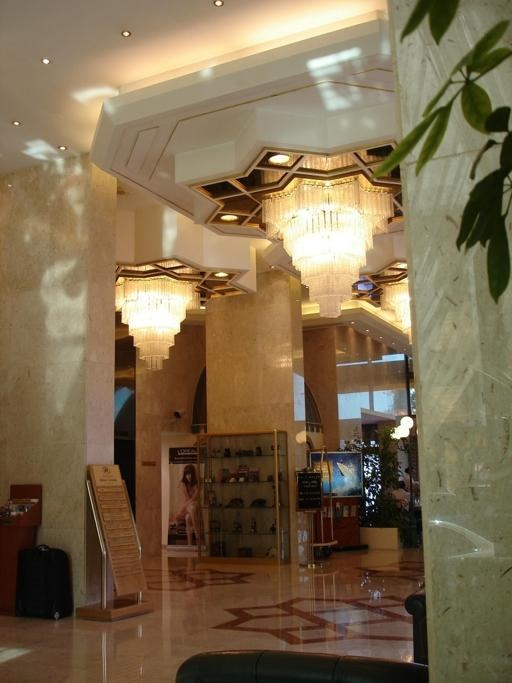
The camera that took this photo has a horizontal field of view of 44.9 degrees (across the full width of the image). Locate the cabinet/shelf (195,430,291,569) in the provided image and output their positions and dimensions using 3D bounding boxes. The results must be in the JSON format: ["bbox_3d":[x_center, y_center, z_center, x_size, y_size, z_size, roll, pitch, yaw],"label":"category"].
[{"bbox_3d":[-0.161,3.062,11.805,2.304,3.461,0.737,-6,-14,23],"label":"cabinet/shelf"}]

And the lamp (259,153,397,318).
[{"bbox_3d":[0.858,-1.132,7.360,1.531,1.534,0.808,-1,-10,1],"label":"lamp"}]

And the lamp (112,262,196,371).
[{"bbox_3d":[-1.809,-0.301,11.086,1.218,1.460,1.226,9,-20,-33],"label":"lamp"}]

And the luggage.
[{"bbox_3d":[-2.441,2.823,7.193,0.724,0.876,0.177,-4,-27,-5],"label":"luggage"}]
